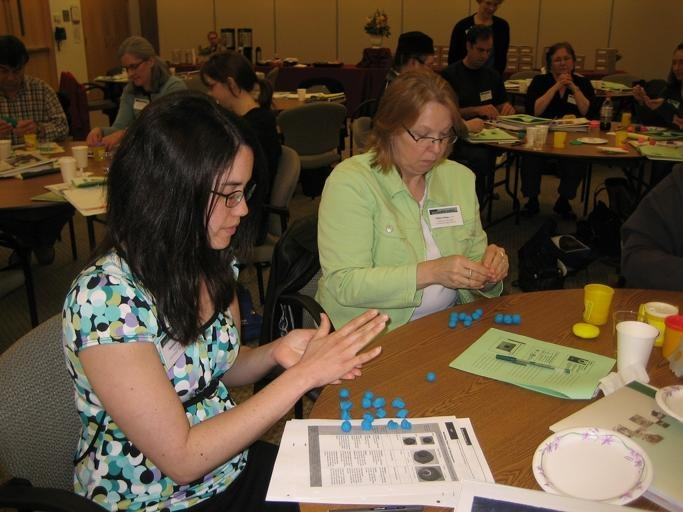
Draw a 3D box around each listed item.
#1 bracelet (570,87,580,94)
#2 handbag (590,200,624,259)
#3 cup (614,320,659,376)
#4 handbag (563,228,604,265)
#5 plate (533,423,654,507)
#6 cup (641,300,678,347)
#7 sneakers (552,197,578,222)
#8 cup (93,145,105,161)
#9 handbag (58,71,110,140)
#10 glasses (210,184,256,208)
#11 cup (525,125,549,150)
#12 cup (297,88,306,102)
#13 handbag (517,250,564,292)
[{"bbox_3d":[2.252,-1.601,5.020,0.063,0.034,0.082,-19,55,-21],"label":"bracelet"},{"bbox_3d":[1.870,-0.170,3.665,0.264,0.441,0.158,-10,-2,41],"label":"handbag"},{"bbox_3d":[0.786,0.252,1.459,0.120,0.131,0.126,1,8,0],"label":"cup"},{"bbox_3d":[1.639,-0.061,3.560,0.259,0.087,0.193,-6,37,-27],"label":"handbag"},{"bbox_3d":[0.522,0.432,1.080,0.226,0.043,0.195,10,24,23],"label":"plate"},{"bbox_3d":[0.931,0.203,1.523,0.077,0.087,0.081,-7,22,3],"label":"cup"},{"bbox_3d":[2.212,-0.471,5.112,0.113,0.244,0.335,-15,25,-8],"label":"sneakers"},{"bbox_3d":[-1.581,-0.673,3.421,0.079,0.088,0.077,2,22,-1],"label":"cup"},{"bbox_3d":[-2.900,-1.753,6.085,0.477,0.783,0.511,-6,26,-20],"label":"handbag"},{"bbox_3d":[-0.287,-0.146,1.312,0.070,0.024,0.072,16,30,22],"label":"glasses"},{"bbox_3d":[1.519,-0.914,4.014,0.171,0.196,0.182,0,17,0],"label":"cup"},{"bbox_3d":[-0.437,-1.790,5.834,0.119,0.145,0.190,-1,13,5],"label":"cup"},{"bbox_3d":[1.342,0.076,3.427,0.269,0.299,0.232,3,34,24],"label":"handbag"}]
